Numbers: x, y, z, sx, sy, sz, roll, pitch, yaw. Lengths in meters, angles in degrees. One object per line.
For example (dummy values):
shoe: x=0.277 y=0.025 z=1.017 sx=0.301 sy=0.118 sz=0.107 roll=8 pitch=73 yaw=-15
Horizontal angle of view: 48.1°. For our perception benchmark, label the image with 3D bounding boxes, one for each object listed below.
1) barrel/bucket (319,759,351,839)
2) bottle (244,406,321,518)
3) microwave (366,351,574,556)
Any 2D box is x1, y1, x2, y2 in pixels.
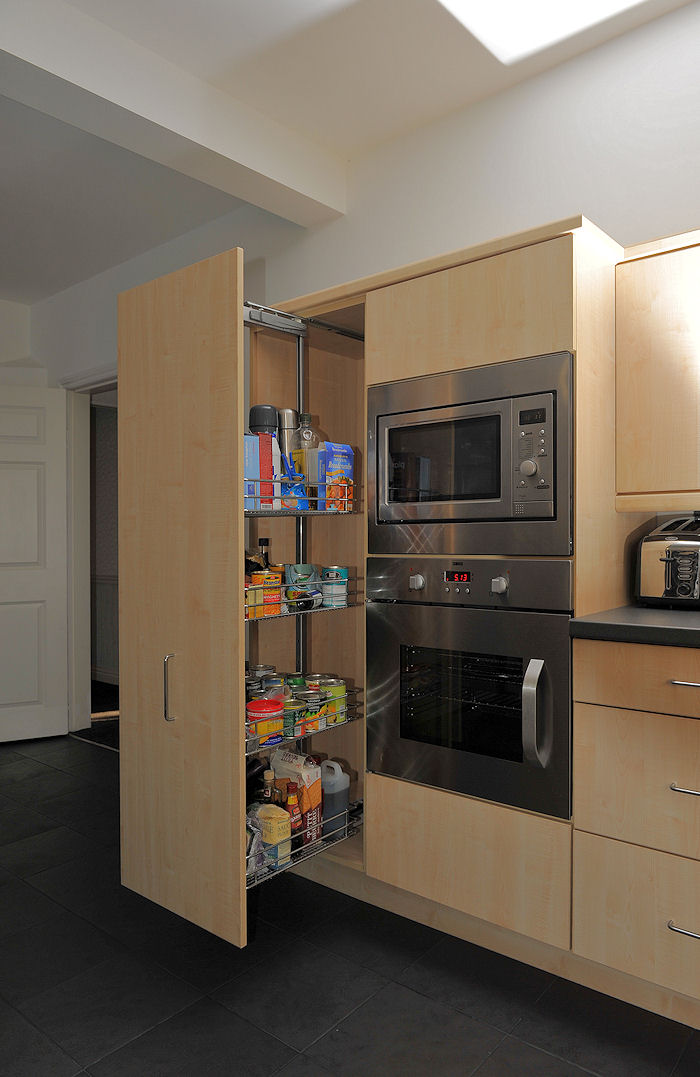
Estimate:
barrel/bucket: x=-0.061 y=0.736 z=2.232 sx=0.097 sy=0.191 sz=0.093 roll=4 pitch=-5 yaw=0
bottle: x=-0.180 y=-0.198 z=2.042 sx=0.126 sy=0.392 sz=0.264 roll=0 pitch=2 yaw=29
microwave: x=0.266 y=-0.139 z=1.921 sx=0.462 sy=0.457 sz=0.269 roll=-3 pitch=-22 yaw=17
